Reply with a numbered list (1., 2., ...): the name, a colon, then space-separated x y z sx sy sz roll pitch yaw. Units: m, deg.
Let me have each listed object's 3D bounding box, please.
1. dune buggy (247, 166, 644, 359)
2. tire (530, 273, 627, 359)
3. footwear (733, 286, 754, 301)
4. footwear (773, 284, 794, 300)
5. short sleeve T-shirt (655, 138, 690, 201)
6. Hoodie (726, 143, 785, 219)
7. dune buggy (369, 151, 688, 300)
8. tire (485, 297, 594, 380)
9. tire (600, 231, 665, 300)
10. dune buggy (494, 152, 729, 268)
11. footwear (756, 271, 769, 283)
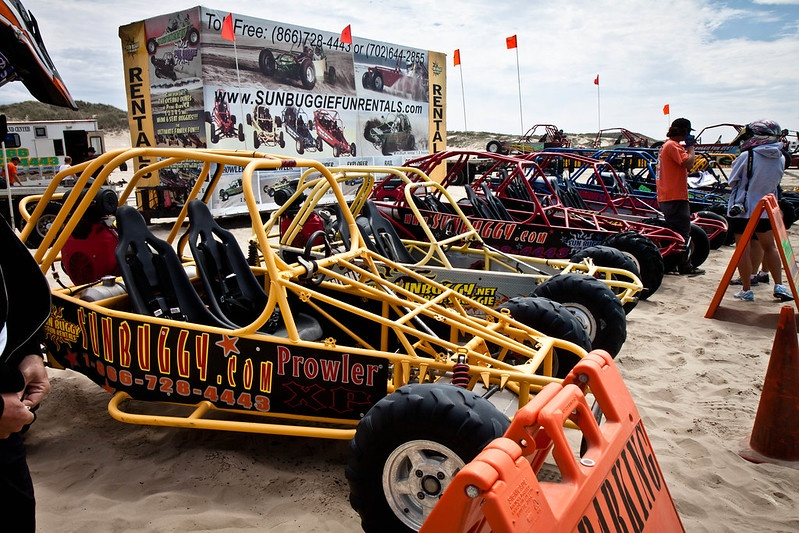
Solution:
1. dune buggy: 0.318 -0.025 6.049 4.107 1.753 2.347 7 7 24
2. tire: 1.478 0.476 4.828 0.810 0.792 0.264 -23 0 38
3. footwear: 3.908 0.323 6.573 0.098 0.107 0.239 -17 18 -39
4. footwear: 4.438 0.295 6.617 0.462 0.204 0.178 6 -5 -39
5. short sleeve T-shirt: 3.345 -1.189 7.068 0.337 0.716 0.676 -4 11 12
6. Hoodie: 3.861 -0.937 6.232 0.508 0.842 0.482 8 14 20
7. dune buggy: 1.655 -0.448 7.863 3.843 1.603 2.097 7 15 24
8. tire: 0.912 0.495 3.819 0.494 0.483 0.155 -10 2 21
9. tire: 2.435 -0.002 6.066 0.644 0.636 0.210 -21 5 18
10. dune buggy: 3.346 -1.217 9.328 2.128 1.590 3.588 -23 22 -25
11. footwear: 4.509 0.140 7.133 0.106 0.104 0.245 -6 10 12
